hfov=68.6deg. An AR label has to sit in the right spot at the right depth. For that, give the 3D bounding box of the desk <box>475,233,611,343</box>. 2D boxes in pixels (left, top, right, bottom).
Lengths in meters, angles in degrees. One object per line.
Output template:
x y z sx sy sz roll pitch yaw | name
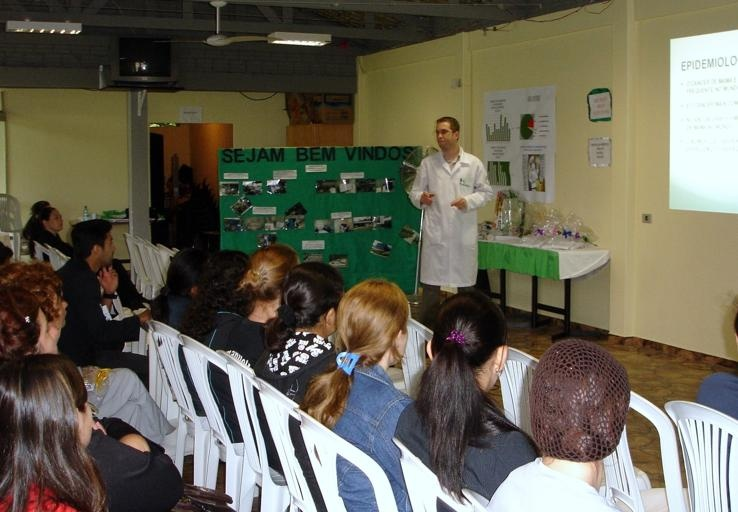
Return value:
1.862 0.343 6.314 0.624 1.006 1.906 -2 8 -22 | desk

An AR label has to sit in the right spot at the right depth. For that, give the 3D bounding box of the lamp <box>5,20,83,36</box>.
-3.699 -2.658 6.189 0.760 0.152 0.279 -2 8 -7 | lamp

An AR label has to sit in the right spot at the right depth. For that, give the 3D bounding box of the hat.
0.501 0.324 1.319 0.192 0.233 0.291 6 55 18 | hat
